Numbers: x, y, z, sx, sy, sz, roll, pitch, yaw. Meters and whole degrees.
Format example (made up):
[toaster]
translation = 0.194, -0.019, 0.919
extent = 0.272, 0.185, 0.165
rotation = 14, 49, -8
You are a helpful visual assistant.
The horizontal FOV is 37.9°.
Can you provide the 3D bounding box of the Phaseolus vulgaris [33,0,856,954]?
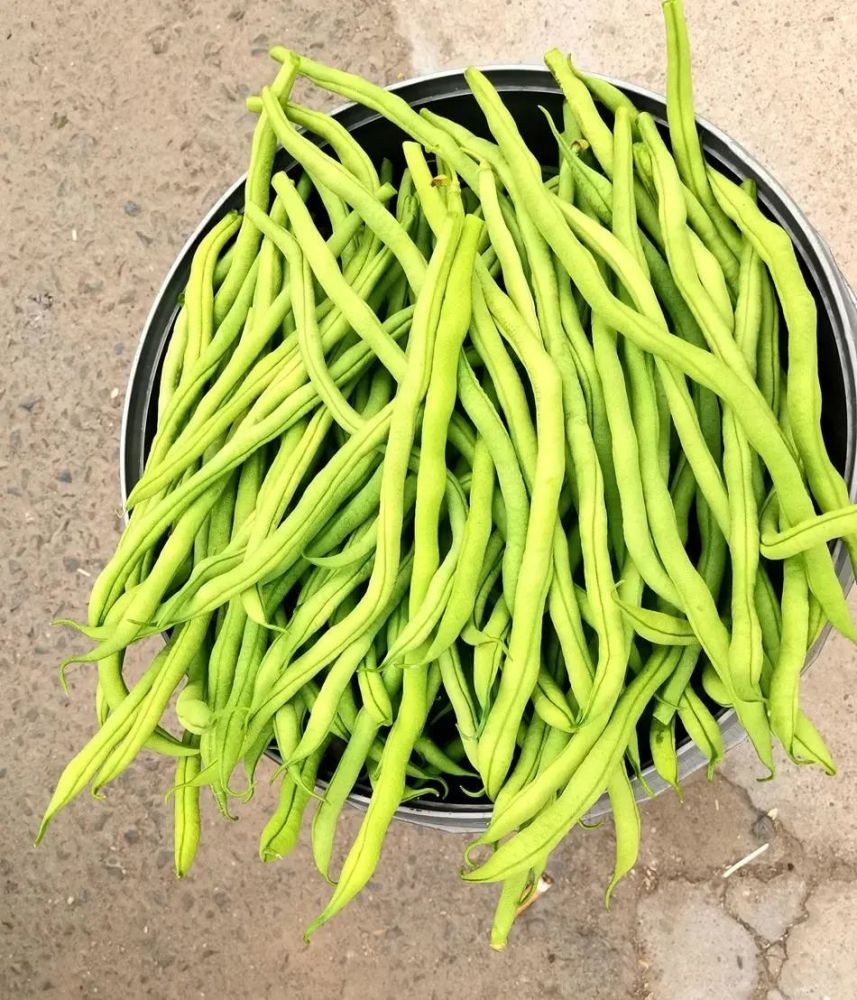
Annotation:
[Phaseolus vulgaris]
translation = 0.018, 0.079, 1.146
extent = 0.584, 0.796, 0.674
rotation = 14, 65, 1
